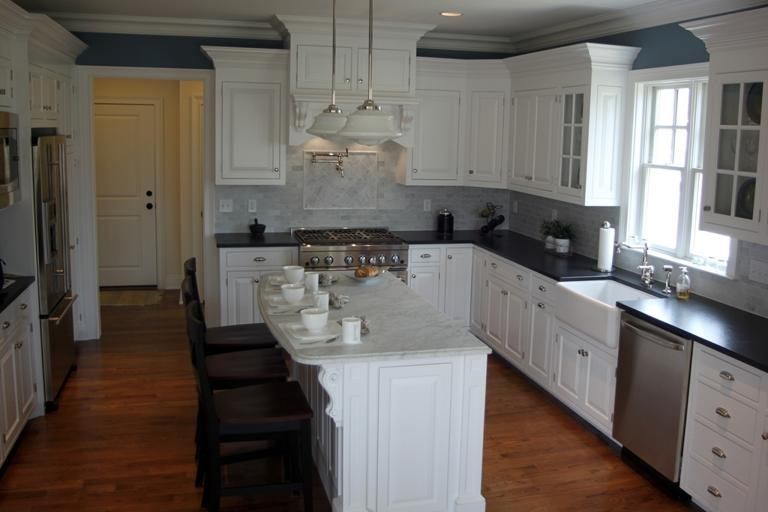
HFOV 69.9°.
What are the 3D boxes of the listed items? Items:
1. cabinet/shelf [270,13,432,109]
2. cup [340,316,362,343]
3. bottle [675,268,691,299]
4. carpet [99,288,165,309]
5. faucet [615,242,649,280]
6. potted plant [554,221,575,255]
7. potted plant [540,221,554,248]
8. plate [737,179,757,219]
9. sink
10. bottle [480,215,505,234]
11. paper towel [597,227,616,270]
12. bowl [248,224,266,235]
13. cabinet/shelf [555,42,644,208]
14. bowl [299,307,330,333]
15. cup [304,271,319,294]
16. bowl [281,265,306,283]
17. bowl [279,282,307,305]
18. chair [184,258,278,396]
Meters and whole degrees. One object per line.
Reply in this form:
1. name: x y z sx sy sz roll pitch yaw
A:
1. cabinet/shelf: -0.403 -2.077 5.822 1.666 0.904 0.418 -1 9 -13
2. cup: -0.209 0.479 3.514 0.118 0.129 0.153 1 13 -4
3. bottle: 2.425 0.210 4.461 0.088 0.246 0.238 4 13 31
4. carpet: -3.573 0.584 7.793 0.839 0.105 0.871 -5 11 -15
5. faucet: 2.279 0.020 4.950 0.303 0.344 0.247 0 10 3
6. potted plant: 1.882 -0.193 5.752 0.208 0.328 0.156 -6 12 -21
7. potted plant: 1.782 -0.241 6.004 0.126 0.286 0.459 1 11 14
8. plate: 2.500 -0.397 3.808 0.048 0.274 0.138 -6 11 -16
9. sink: 1.873 0.422 4.713 0.524 0.303 0.725 -3 12 -14
10. bottle: 1.359 -0.386 6.856 0.300 0.098 0.116 -32 2 5
11. paper towel: 2.056 -0.086 5.101 0.124 0.456 0.181 1 12 17
12. bowl: -1.470 -0.300 6.378 0.156 0.124 0.151 0 3 0
13. cabinet/shelf: 2.052 -1.237 5.275 0.545 1.484 0.357 -5 11 -12
14. bowl: -0.453 0.418 3.626 0.169 0.139 0.226 -4 11 -9
15. cup: -0.561 0.211 4.317 0.170 0.159 0.103 -6 12 -29
16. bowl: -0.718 0.143 4.395 0.141 0.106 0.157 -2 5 -25
17. bowl: -0.676 0.278 4.065 0.144 0.107 0.154 0 2 0
18. chair: -1.245 0.585 4.584 0.816 1.253 0.817 -5 26 -11
